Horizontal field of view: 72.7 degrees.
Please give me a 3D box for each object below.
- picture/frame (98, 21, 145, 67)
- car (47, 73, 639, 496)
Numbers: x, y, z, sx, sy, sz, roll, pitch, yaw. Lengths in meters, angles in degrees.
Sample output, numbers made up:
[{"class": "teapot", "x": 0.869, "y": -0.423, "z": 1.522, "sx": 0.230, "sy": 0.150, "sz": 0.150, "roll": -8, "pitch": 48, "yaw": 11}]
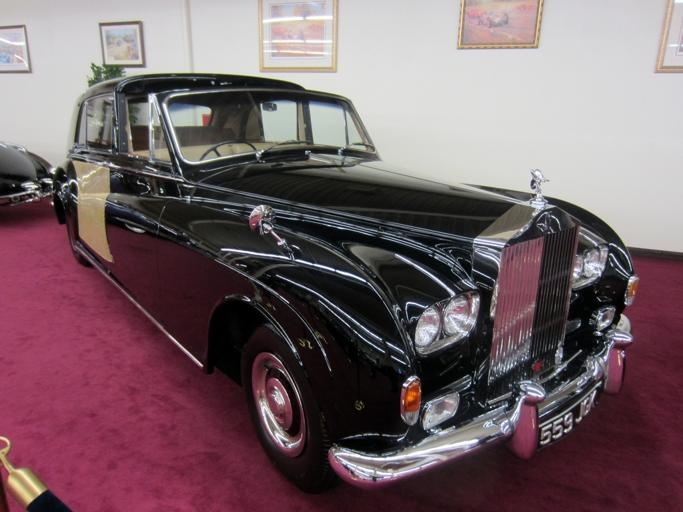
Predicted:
[{"class": "picture/frame", "x": -3.415, "y": -3.322, "z": 7.211, "sx": 0.802, "sy": 0.598, "sz": 0.066, "roll": 14, "pitch": 24, "yaw": 34}, {"class": "car", "x": -0.041, "y": -0.065, "z": 2.785, "sx": 3.051, "sy": 1.943, "sz": 1.672, "roll": 16, "pitch": 23, "yaw": 37}]
